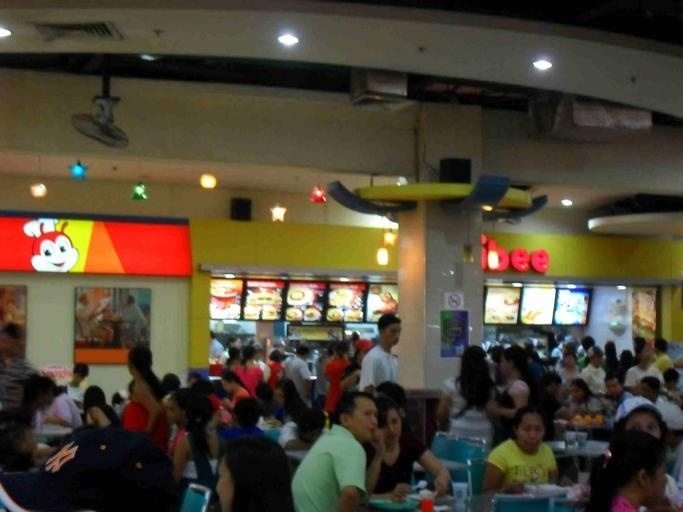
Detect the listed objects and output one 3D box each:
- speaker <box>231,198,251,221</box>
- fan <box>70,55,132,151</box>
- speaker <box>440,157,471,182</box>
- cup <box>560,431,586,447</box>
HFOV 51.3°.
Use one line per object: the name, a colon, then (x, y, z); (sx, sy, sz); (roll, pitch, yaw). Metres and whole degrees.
speaker: (-1.781, -0.784, 12.586); (0.404, 0.386, 0.415); (4, -8, -24)
fan: (-2.611, -1.734, 7.797); (0.559, 1.047, 0.724); (6, -7, -18)
speaker: (1.416, -1.074, 8.909); (0.301, 0.279, 0.151); (0, -6, -9)
cup: (2.421, 1.887, 7.322); (0.162, 0.119, 0.145); (2, -3, -33)
